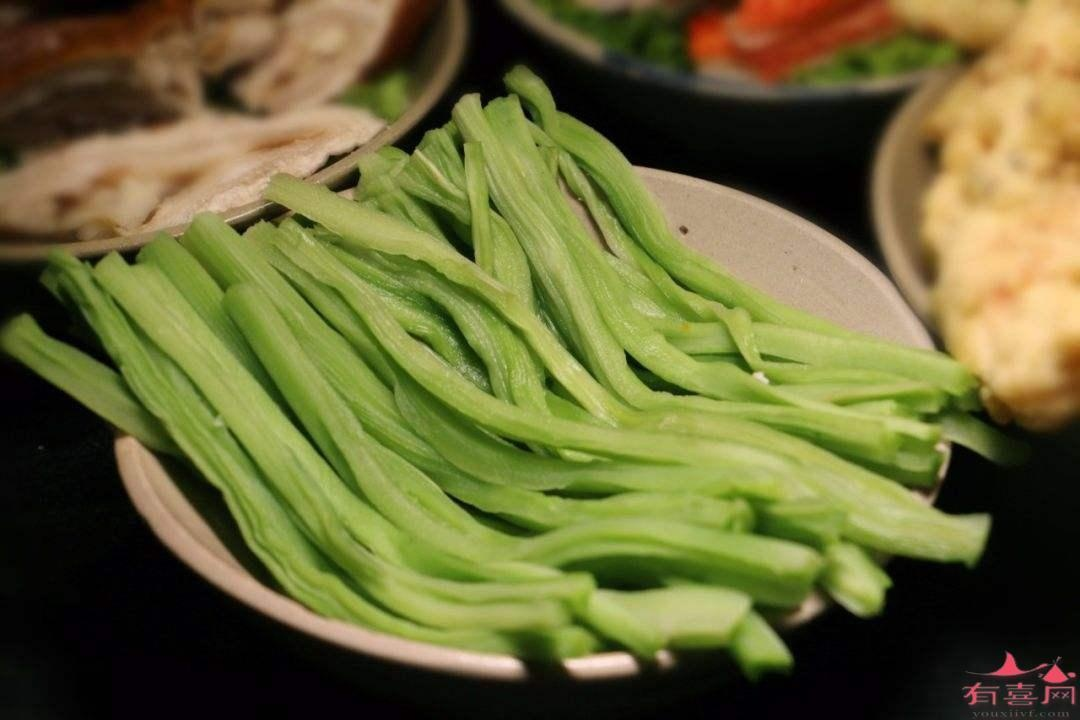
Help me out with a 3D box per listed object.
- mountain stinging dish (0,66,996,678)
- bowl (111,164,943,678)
[{"bbox_3d":[-0.032,0.076,1.418,0.826,0.170,0.967,-37,62,-22],"label":"mountain stinging dish"},{"bbox_3d":[-0.201,-0.012,1.652,1.064,0.256,1.060,-14,33,9],"label":"bowl"}]
